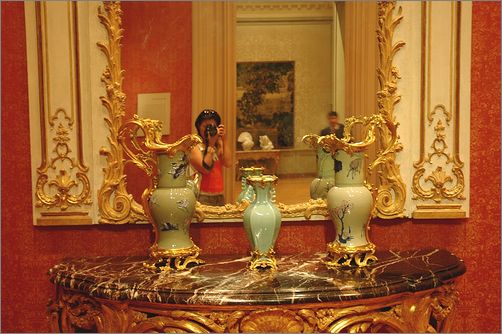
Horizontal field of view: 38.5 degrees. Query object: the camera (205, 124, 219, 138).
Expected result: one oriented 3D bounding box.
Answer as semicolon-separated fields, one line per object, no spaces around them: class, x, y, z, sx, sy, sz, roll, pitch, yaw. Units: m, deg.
camera;-0.263;-0.243;4.866;0.067;0.083;0.075;-3;8;0
